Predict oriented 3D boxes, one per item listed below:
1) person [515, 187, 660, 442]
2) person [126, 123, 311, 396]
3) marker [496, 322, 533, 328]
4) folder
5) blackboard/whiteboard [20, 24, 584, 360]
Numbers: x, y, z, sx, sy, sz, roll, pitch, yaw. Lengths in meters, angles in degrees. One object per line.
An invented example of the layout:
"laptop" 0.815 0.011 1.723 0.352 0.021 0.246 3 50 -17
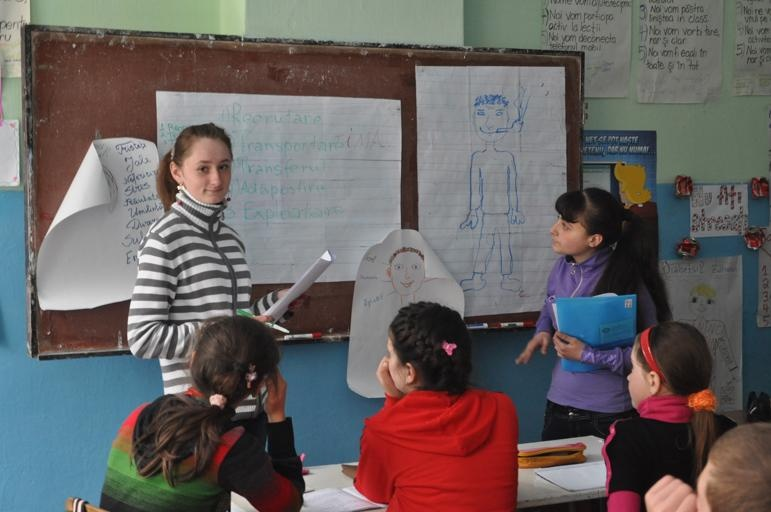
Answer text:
"person" 0.928 0.158 3.801 0.680 1.138 0.608 7 19 10
"person" -0.719 0.265 3.390 0.620 1.538 0.722 5 8 38
"marker" 0.646 0.346 4.156 0.115 0.022 0.022 -2 20 -9
"folder" 0.909 0.325 3.519 0.356 0.338 0.109 -3 11 3
"blackboard/whiteboard" -0.482 -0.310 3.777 2.304 1.137 0.094 -4 15 -28
